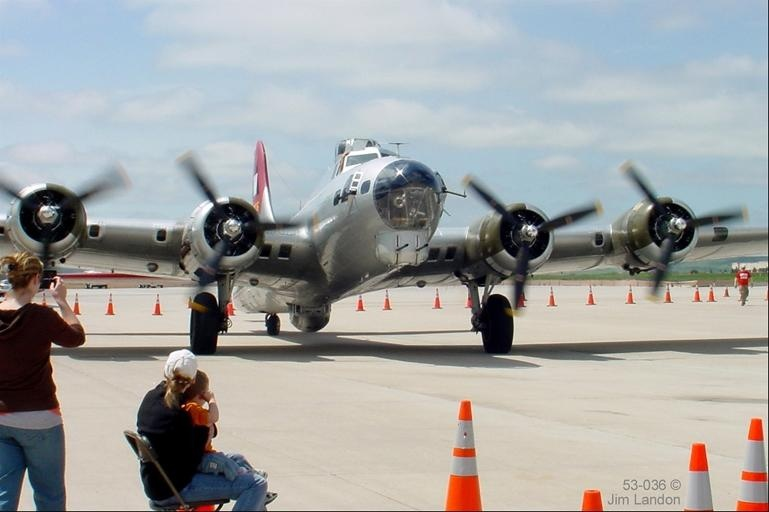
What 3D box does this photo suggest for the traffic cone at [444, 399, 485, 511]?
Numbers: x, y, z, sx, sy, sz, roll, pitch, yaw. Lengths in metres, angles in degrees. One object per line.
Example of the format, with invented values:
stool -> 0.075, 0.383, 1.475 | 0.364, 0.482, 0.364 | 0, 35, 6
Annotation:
traffic cone -> 0.699, 1.793, 6.745 | 0.336, 0.971, 0.364 | 0, -1, 5

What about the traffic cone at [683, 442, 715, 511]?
traffic cone -> 2.547, 1.790, 6.191 | 0.196, 0.526, 0.234 | -1, -1, 21

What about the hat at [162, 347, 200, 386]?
hat -> -1.618, 0.871, 6.176 | 0.221, 0.167, 0.303 | 0, 42, -4

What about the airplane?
airplane -> -0.799, -0.294, 16.977 | 13.994, 4.826, 7.274 | 0, -1, -23

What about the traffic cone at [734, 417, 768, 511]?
traffic cone -> 3.073, 1.748, 6.374 | 0.228, 0.724, 0.352 | -1, -1, 26

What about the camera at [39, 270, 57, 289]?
camera -> -4.106, 0.291, 9.338 | 0.317, 0.270, 0.080 | 2, -10, 28
